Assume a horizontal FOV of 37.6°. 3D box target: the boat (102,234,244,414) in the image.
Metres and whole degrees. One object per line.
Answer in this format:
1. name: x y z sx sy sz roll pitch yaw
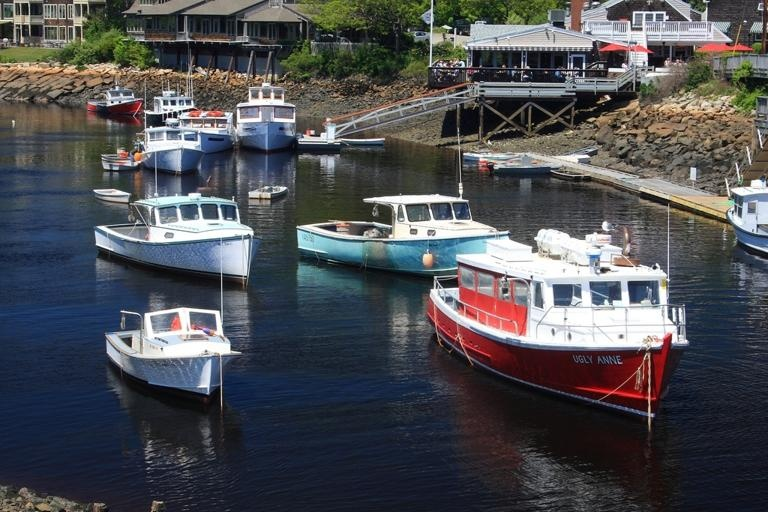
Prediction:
1. boat: -6.363 2.985 35.119 2.796 2.605 5.391 -12 16 -43

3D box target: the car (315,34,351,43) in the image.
1. car: -5.613 -24.213 124.460 1.907 1.293 3.239 -6 10 -34

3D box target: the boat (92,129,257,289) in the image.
1. boat: -8.298 -0.889 45.386 3.352 2.488 7.051 -10 15 -39

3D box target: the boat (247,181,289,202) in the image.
1. boat: -6.078 -3.465 60.972 1.168 0.476 1.854 6 10 25

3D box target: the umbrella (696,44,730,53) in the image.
1. umbrella: 23.907 -15.076 82.130 1.891 0.667 5.523 3 11 14

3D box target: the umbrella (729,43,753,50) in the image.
1. umbrella: 25.912 -15.050 81.985 1.257 0.551 5.126 4 11 19
